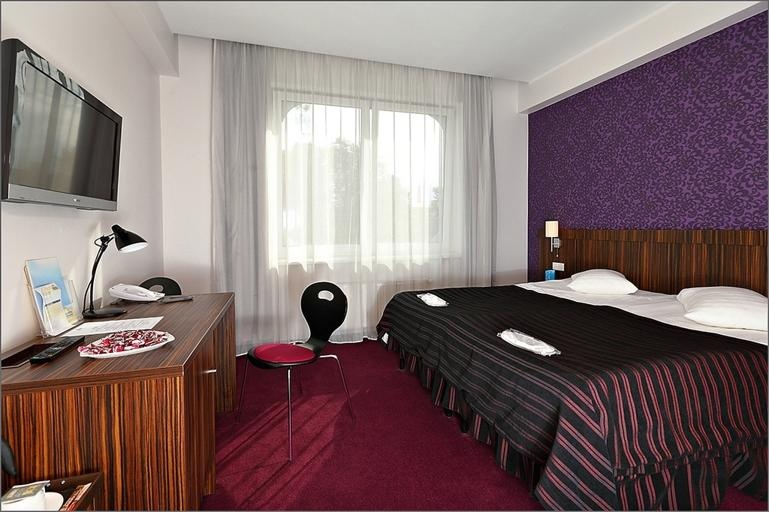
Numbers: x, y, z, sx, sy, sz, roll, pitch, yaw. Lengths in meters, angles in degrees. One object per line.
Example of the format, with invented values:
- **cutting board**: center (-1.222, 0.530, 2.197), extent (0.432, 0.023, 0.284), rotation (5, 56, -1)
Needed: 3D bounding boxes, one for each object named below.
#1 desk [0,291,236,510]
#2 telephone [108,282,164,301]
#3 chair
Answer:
- **desk**: center (-1.437, 0.779, 2.381), extent (0.556, 0.580, 1.307), rotation (-2, 7, -16)
- **telephone**: center (-1.829, 0.281, 3.311), extent (0.245, 0.061, 0.174), rotation (3, 9, -23)
- **chair**: center (-0.706, 0.793, 3.469), extent (0.712, 1.070, 0.668), rotation (6, 8, 42)
